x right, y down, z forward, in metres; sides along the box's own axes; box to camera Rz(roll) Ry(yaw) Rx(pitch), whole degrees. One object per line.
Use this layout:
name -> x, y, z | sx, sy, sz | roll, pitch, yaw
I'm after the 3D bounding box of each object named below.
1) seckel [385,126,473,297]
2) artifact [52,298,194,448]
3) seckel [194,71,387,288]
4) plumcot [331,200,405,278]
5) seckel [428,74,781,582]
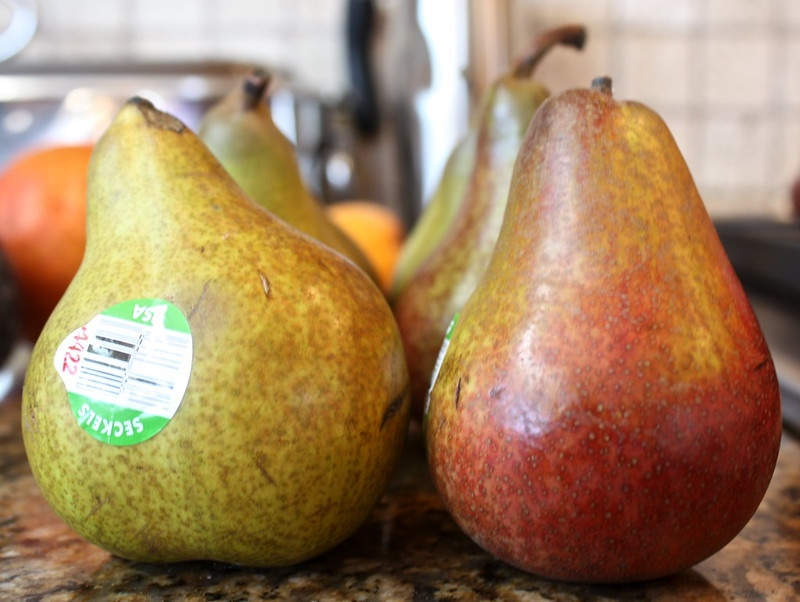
seckel -> 0.010, -0.080, 0.843 | 0.054, 0.141, 0.104 | 9, 16, 18
artifact -> -0.168, 0.047, 0.585 | 0.077, 0.094, 0.022 | 30, -1, 19
seckel -> -0.080, -0.078, 0.776 | 0.093, 0.215, 0.087 | -27, 24, -8
plumcot -> -0.035, -0.076, 1.084 | 0.091, 0.132, 0.100 | -2, 2, -9
seckel -> 0.145, 0.017, 0.644 | 0.201, 0.333, 0.220 | 6, 19, 31
